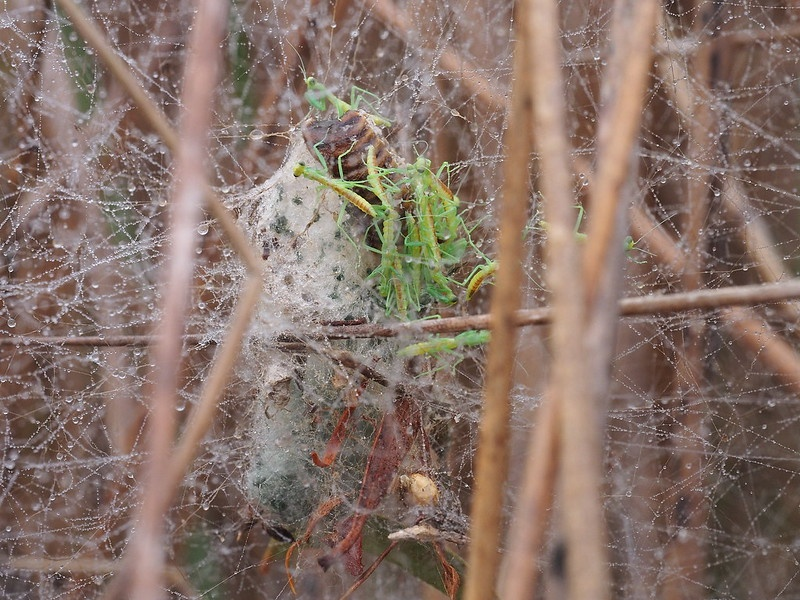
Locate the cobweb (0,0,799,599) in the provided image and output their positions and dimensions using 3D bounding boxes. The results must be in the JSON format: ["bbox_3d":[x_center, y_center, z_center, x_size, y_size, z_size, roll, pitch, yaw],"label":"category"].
[{"bbox_3d":[-0.006,-0.147,1.639,1.346,0.367,1.399,-4,73,13],"label":"cobweb"}]

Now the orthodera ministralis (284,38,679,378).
[{"bbox_3d":[0.065,-0.251,1.881,0.519,0.562,0.400,14,62,-15],"label":"orthodera ministralis"}]
